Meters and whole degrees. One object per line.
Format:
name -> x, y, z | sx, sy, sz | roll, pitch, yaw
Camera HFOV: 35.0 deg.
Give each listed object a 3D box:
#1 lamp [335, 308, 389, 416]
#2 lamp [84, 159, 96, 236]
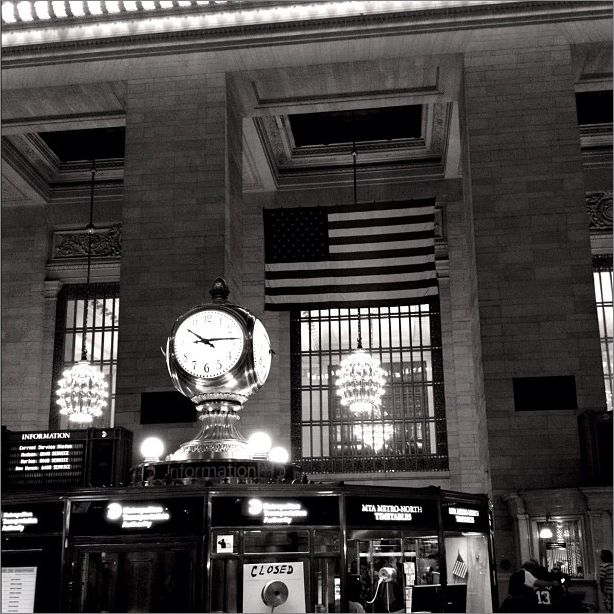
lamp -> 1.053, 1.256, 19.657 | 0.816, 1.640, 0.690 | -17, -23, 39
lamp -> -5.201, -2.673, 23.359 | 0.197, 1.649, 0.219 | 8, 19, 2
